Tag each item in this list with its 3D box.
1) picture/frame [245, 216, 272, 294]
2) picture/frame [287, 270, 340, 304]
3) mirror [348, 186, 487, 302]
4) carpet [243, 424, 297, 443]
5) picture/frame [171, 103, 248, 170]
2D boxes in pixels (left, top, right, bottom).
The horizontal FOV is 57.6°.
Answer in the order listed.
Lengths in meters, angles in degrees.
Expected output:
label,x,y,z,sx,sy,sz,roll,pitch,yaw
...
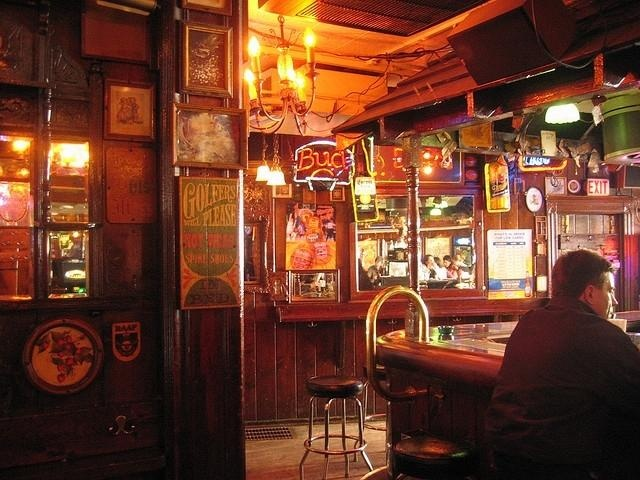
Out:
label,x,y,z,sx,sy,sz,roll,pitch,yaw
picture/frame,-0.688,0.160,6.333,0.270,0.711,0.080,-1,0,-7
picture/frame,-0.081,0.513,6.472,0.624,0.365,0.323,2,-6,-14
mirror,1.026,0.063,6.537,1.482,0.996,0.057,0,-4,-15
carpet,-0.539,2.017,6.126,0.486,0.029,0.440,-1,0,-9
picture/frame,-0.711,-0.646,3.607,0.455,0.357,0.034,1,-4,-18
